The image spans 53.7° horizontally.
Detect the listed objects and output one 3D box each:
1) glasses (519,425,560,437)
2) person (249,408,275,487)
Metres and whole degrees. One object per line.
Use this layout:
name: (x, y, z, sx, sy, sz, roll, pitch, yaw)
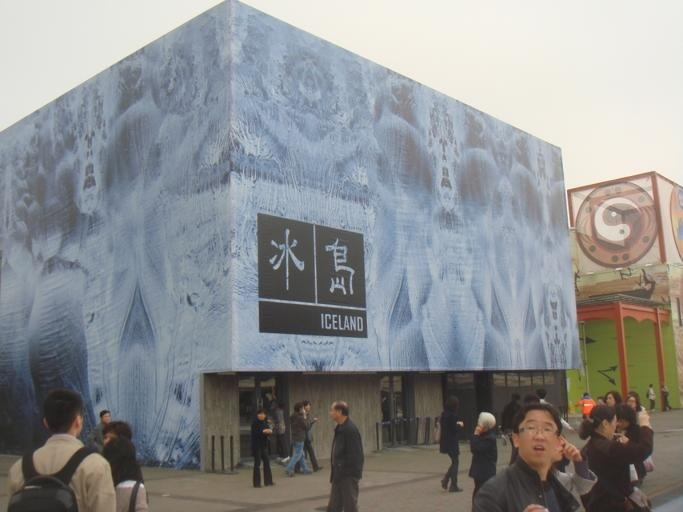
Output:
glasses: (1.745, 1.547, 5.995, 0.300, 0.107, 0.075, -6, -13, 11)
person: (-2.063, 4.958, 17.556, 0.539, 1.910, 1.316, -1, -12, -7)
